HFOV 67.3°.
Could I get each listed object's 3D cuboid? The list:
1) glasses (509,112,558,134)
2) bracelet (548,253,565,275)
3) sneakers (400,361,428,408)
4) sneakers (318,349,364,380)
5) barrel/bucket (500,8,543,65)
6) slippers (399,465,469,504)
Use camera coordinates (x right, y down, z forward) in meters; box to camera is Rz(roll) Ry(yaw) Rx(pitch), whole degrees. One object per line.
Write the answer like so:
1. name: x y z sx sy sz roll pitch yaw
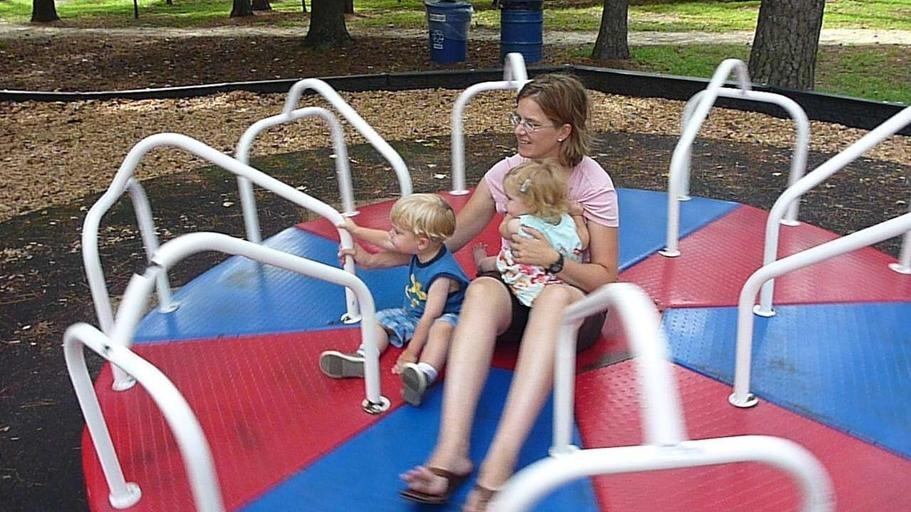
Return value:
1. glasses: 0.433 -0.730 3.777 0.217 0.047 0.179 -6 26 -29
2. bracelet: 0.529 0.036 3.593 0.078 0.098 0.087 33 28 -8
3. sneakers: -0.246 0.668 3.584 0.153 0.217 0.127 30 28 33
4. sneakers: -0.680 0.592 3.743 0.360 0.088 0.123 6 12 -1
5. barrel/bucket: 1.006 -3.348 10.426 0.684 0.783 0.423 5 29 0
6. slippers: -0.107 1.074 3.259 0.385 0.085 0.166 -8 16 -37
